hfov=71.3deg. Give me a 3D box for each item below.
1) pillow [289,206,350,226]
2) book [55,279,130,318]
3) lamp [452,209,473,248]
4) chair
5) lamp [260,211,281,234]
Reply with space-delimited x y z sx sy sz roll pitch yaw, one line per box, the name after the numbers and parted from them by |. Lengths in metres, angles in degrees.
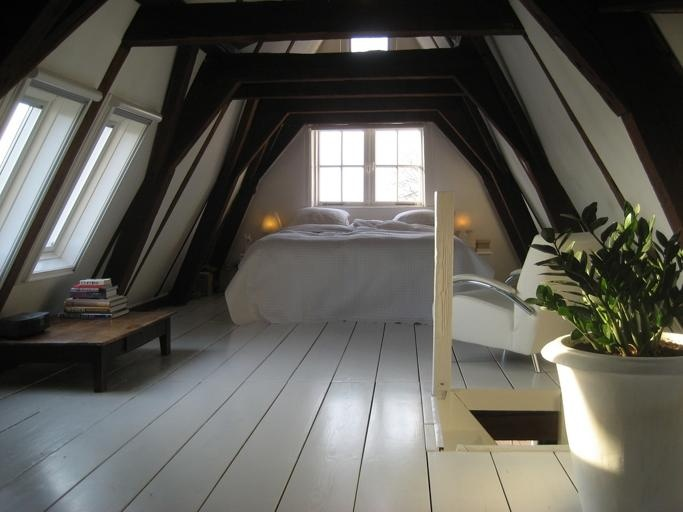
-0.277 -0.524 6.267 0.724 0.215 0.541 1 7 12 | pillow
-1.732 0.303 3.316 0.294 0.195 0.301 1 -1 3 | book
1.721 -0.363 6.600 0.348 0.502 0.346 11 -13 -35 | lamp
1.069 0.250 3.403 0.947 0.937 0.819 -1 4 16 | chair
-0.968 -0.476 6.662 0.256 0.296 0.251 10 19 38 | lamp
